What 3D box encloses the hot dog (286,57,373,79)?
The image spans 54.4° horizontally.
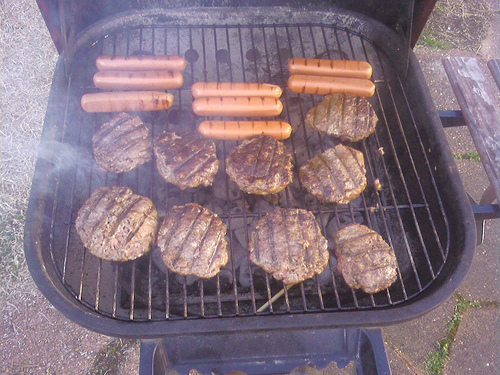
[{"bbox_3d":[0.845,-1.246,5.098,0.825,0.225,0.246,5,89,-5],"label":"hot dog"}]
